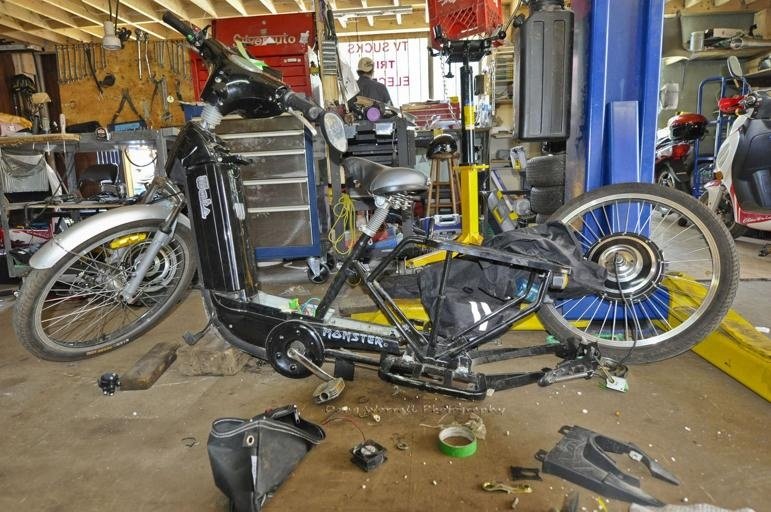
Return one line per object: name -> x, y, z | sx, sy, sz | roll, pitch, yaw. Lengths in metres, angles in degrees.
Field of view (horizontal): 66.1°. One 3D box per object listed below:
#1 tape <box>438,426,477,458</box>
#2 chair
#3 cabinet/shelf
tape -> 0.411, 1.077, 3.436 | 0.218, 0.129, 0.143 | -3, 16, 9
chair -> -2.934, -0.561, 5.752 | 0.622, 0.678, 0.603 | 0, 6, -28
cabinet/shelf -> -1.084, -0.540, 5.840 | 1.067, 1.450, 1.055 | -10, -12, 20
